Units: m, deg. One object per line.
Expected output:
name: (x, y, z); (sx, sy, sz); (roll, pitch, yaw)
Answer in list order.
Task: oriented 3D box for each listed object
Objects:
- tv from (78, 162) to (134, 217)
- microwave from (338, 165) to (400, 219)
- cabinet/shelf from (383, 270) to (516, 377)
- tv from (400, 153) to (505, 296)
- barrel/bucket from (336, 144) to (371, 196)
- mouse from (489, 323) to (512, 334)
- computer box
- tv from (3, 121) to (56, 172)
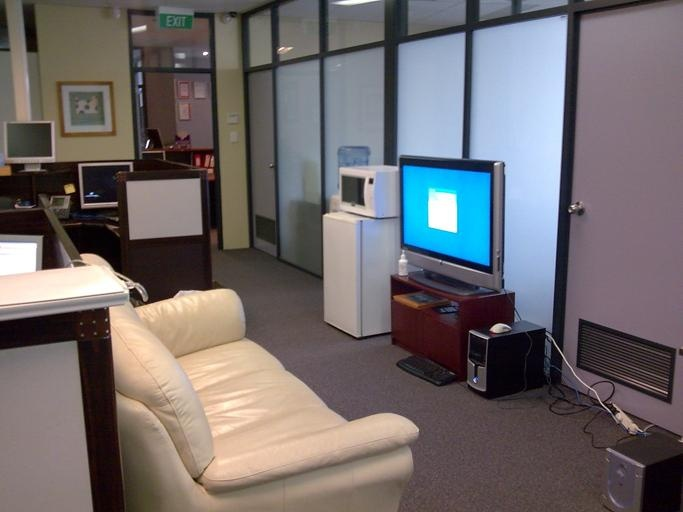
tv: (-2.280, -0.626, 5.381); (0.599, 0.541, 0.061); (-7, 9, -36)
microwave: (0.223, -0.527, 4.635); (0.285, 0.392, 0.550); (-9, 16, -31)
cabinet/shelf: (0.765, 0.469, 4.249); (0.443, 0.561, 0.847); (-10, 15, -31)
tv: (0.788, -0.229, 3.928); (0.103, 0.729, 0.948); (-6, 12, -27)
barrel/bucket: (0.182, -0.879, 5.755); (0.283, 0.480, 0.507); (-6, 8, -34)
mouse: (1.027, 0.464, 3.631); (0.103, 0.036, 0.067); (-5, 10, -30)
computer box: (1.094, 0.664, 3.829); (0.601, 0.548, 0.328); (-6, 10, -16)
tv: (-3.120, -1.089, 5.620); (0.508, 0.577, 0.160); (0, -7, -19)
